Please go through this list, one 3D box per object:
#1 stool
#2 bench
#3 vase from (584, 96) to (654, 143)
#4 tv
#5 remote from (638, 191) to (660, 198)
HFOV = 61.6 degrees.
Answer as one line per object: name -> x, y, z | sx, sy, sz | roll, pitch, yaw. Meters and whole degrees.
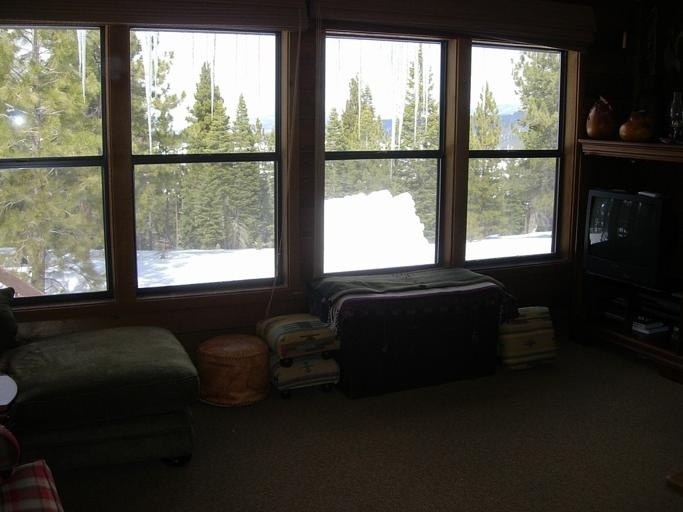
stool -> -0.541, 0.664, 4.152 | 0.792, 0.369, 0.597 | -4, 17, -19
bench -> -1.427, 0.880, 3.461 | 1.057, 0.615, 0.660 | -5, 16, -19
vase -> 2.367, -1.178, 4.890 | 0.325, 0.362, 0.621 | -7, 17, -24
tv -> 2.388, -0.168, 4.769 | 0.199, 0.744, 0.767 | -8, 17, -30
remote -> 2.457, -0.492, 4.565 | 0.100, 0.025, 0.211 | -7, 18, -24
